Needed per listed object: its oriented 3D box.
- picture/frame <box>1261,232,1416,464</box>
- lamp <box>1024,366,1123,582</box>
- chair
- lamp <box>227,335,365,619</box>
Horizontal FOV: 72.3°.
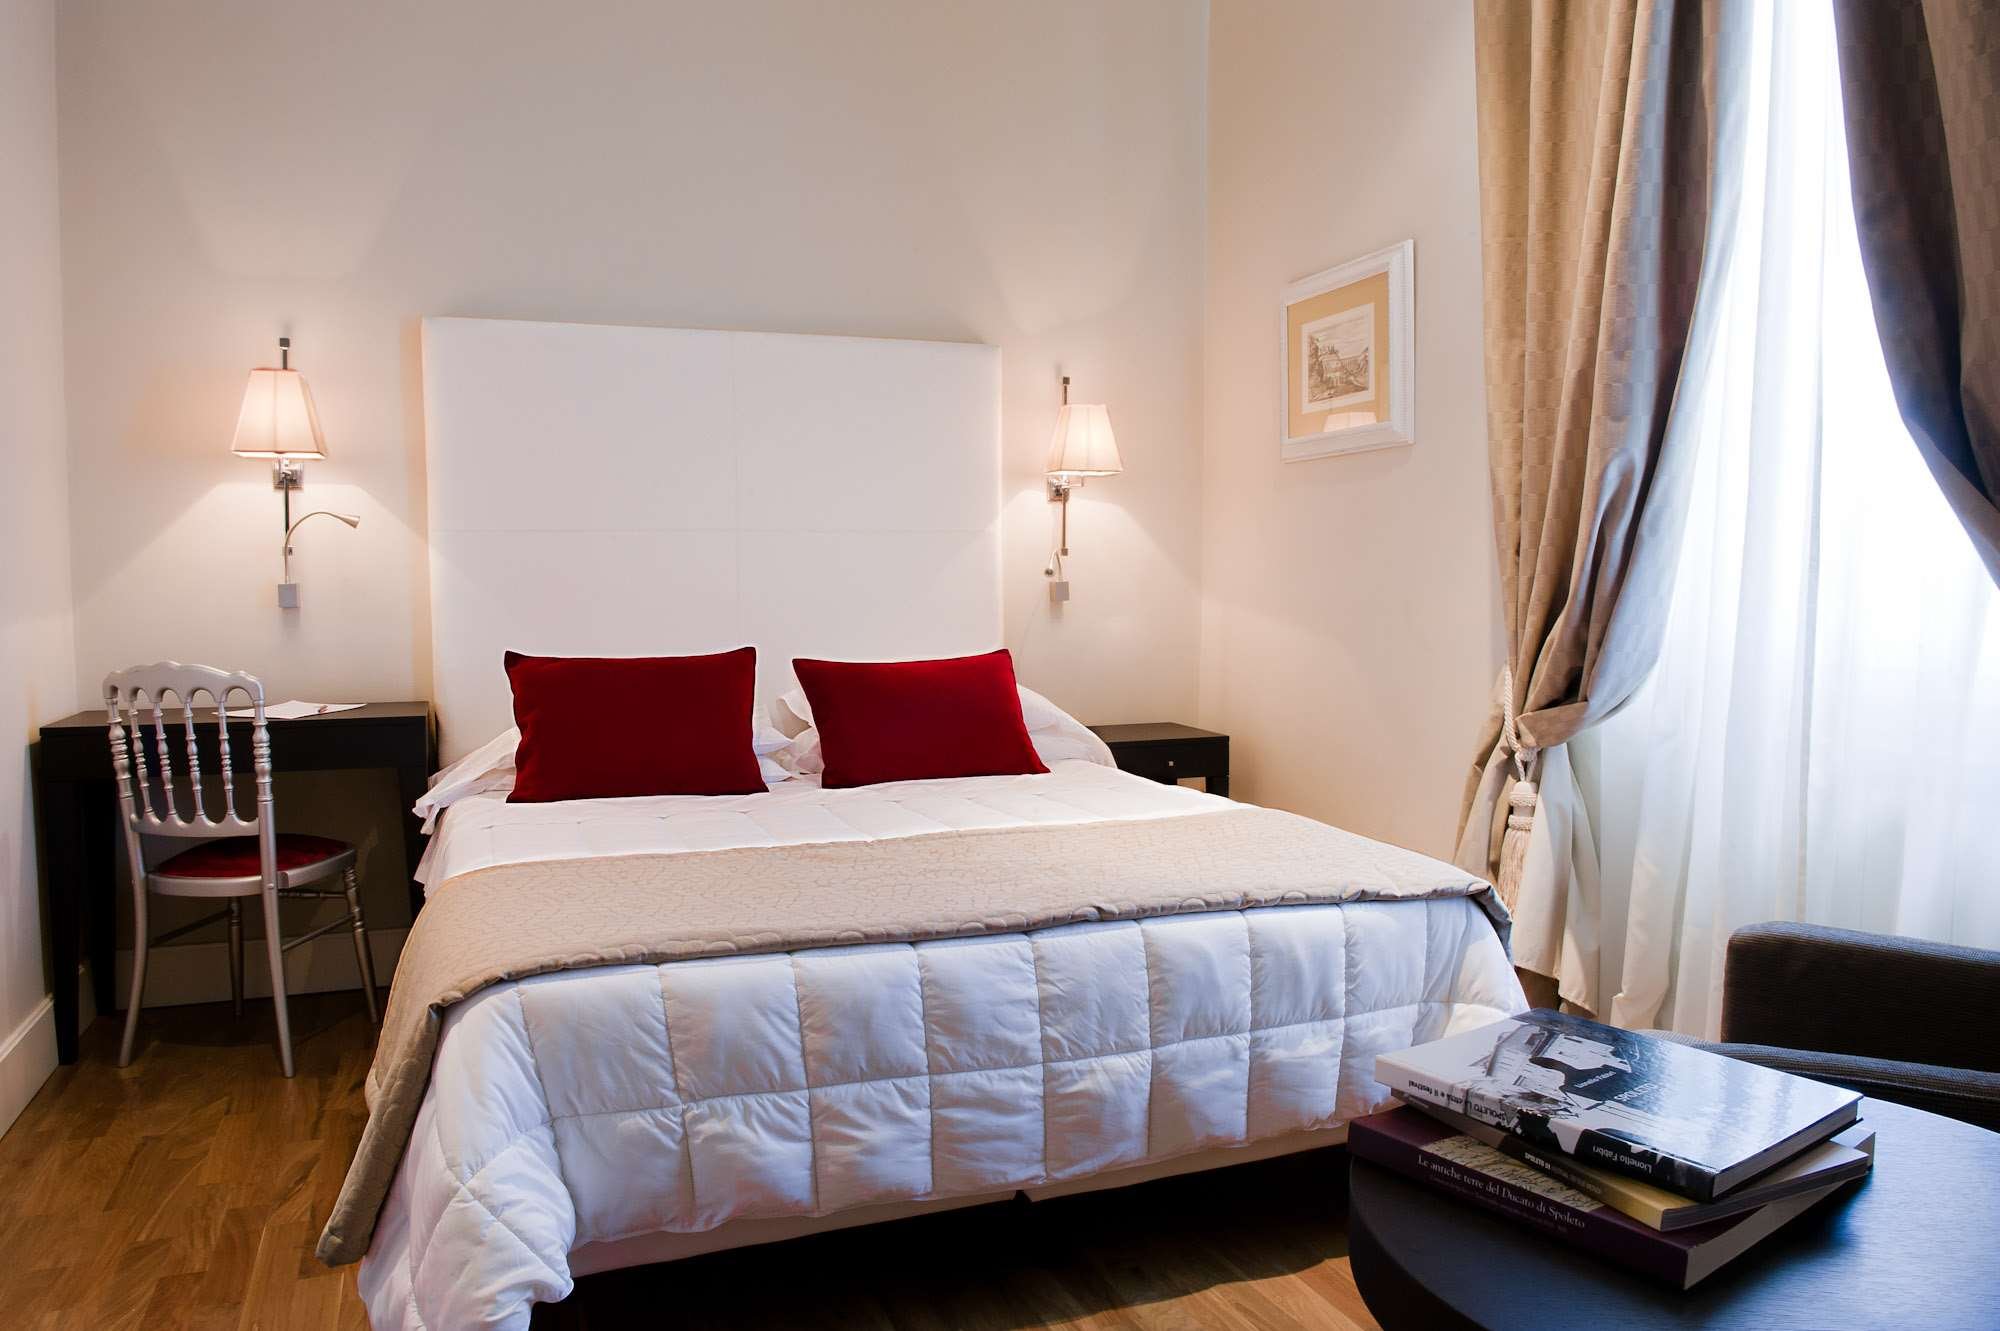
[{"bbox_3d":[1.165,-1.051,4.743,0.642,0.656,0.066,-22,27,-33],"label":"picture/frame"},{"bbox_3d":[0.325,-0.679,5.203,0.290,0.852,0.288,-2,4,-3],"label":"lamp"},{"bbox_3d":[-2.308,0.572,4.168,0.582,1.202,0.580,1,6,-1],"label":"chair"},{"bbox_3d":[-2.305,-0.630,4.403,0.345,0.926,0.243,-4,7,-8],"label":"lamp"}]
